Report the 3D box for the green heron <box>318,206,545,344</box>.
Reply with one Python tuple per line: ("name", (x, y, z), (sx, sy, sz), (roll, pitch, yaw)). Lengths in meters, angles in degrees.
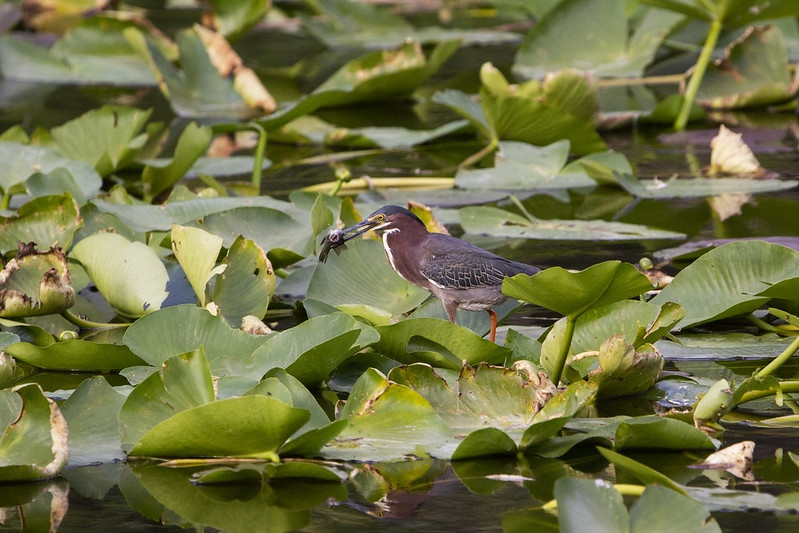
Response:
("green heron", (0.121, 0.002, 2.812), (0.732, 0.312, 0.195), (-6, 10, -26))
